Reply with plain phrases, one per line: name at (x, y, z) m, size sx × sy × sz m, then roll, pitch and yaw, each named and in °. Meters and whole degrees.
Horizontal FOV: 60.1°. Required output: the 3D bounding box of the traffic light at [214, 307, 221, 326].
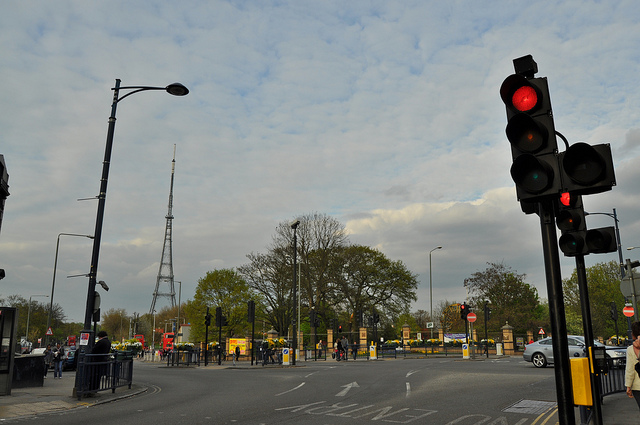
traffic light at (-6.512, 6.734, 35.557) m, size 0.260 × 1.104 × 0.530 m, roll 1°, pitch -18°, yaw -14°

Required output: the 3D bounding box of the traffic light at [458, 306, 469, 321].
traffic light at (9.670, 6.824, 37.424) m, size 0.474 × 0.833 × 1.217 m, roll -10°, pitch -19°, yaw 19°

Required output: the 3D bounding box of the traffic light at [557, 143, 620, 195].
traffic light at (4.750, -0.816, 9.796) m, size 0.448 × 0.761 × 0.812 m, roll 10°, pitch -14°, yaw -34°

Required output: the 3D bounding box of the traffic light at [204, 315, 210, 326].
traffic light at (-7.582, 7.305, 37.092) m, size 0.181 × 0.696 × 0.432 m, roll -6°, pitch -18°, yaw 6°

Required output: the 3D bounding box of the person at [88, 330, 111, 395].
person at (-7.740, 5.284, 19.462) m, size 0.650 × 2.191 × 1.529 m, roll 3°, pitch -19°, yaw -20°

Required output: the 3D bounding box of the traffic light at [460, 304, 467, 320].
traffic light at (9.692, 6.735, 37.339) m, size 0.410 × 0.947 × 0.997 m, roll -8°, pitch -18°, yaw 13°

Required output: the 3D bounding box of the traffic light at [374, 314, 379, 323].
traffic light at (4.427, 8.535, 44.297) m, size 0.277 × 0.624 × 0.692 m, roll -7°, pitch -18°, yaw 10°

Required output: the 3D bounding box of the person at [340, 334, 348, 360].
person at (1.833, 10.863, 43.595) m, size 0.540 × 1.572 × 1.271 m, roll -4°, pitch -18°, yaw 0°

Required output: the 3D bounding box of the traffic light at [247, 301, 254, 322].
traffic light at (-4.373, 6.265, 34.920) m, size 0.293 × 1.277 × 0.621 m, roll -1°, pitch -18°, yaw -7°
